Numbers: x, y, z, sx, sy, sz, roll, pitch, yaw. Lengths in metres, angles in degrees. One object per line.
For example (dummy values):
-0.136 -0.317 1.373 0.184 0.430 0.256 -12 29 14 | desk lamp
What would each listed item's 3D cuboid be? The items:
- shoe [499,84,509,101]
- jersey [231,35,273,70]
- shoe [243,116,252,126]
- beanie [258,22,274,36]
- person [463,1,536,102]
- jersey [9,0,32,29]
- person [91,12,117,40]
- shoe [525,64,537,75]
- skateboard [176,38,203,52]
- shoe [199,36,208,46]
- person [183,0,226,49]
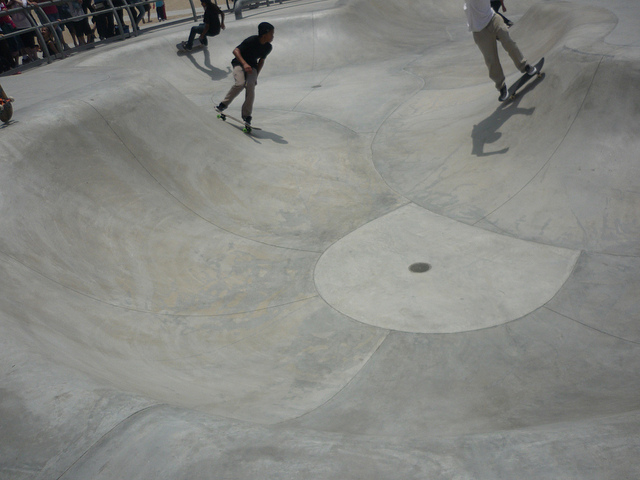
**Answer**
3.080 -2.457 10.178 0.090 0.122 0.314 1 80 17 | shoe
-1.274 -3.474 11.227 0.692 0.576 0.257 -37 45 21 | jersey
-1.418 -2.298 11.693 0.111 0.148 0.144 -4 22 -5 | shoe
-1.022 -3.811 10.933 0.269 0.252 0.442 -12 34 -3 | beanie
2.890 -3.020 9.905 0.987 1.764 0.379 -1 34 14 | person
-7.409 -5.519 14.967 0.460 0.667 0.693 -26 37 -23 | jersey
-6.482 -6.426 18.169 0.241 1.012 1.003 3 17 11 | person
3.482 -2.786 9.962 0.127 0.141 0.243 -27 37 -25 | shoe
-3.693 -5.416 16.860 0.726 0.191 0.107 -29 -8 -12 | skateboard
-3.313 -5.611 17.079 0.208 0.326 0.429 -14 34 -6 | shoe
-3.146 -5.911 16.507 1.067 1.343 0.913 9 38 26 | person
